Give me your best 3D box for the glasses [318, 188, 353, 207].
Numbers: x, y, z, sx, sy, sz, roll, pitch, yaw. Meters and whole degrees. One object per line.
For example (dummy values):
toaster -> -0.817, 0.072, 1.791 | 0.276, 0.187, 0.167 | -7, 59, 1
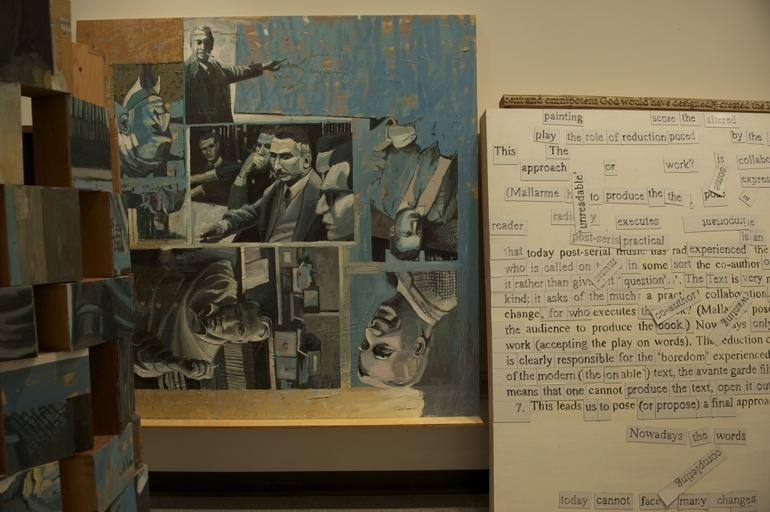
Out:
glasses -> -0.286, -0.320, 4.470 | 0.090, 0.047, 0.131 | -14, 1, 41

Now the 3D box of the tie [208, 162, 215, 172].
tie -> -0.948, -0.486, 4.464 | 0.054, 0.052, 0.013 | 5, -1, 1
